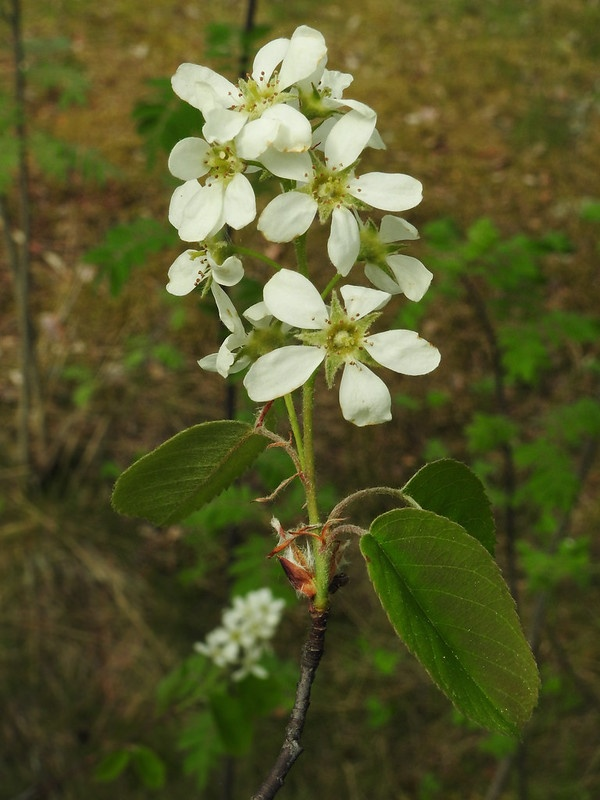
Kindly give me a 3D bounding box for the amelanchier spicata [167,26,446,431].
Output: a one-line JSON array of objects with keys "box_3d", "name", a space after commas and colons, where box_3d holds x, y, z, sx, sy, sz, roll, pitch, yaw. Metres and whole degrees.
[{"box_3d": [-0.003, -0.290, 1.714, 0.562, 0.286, 0.671, -6, 91, -6], "name": "amelanchier spicata"}]
